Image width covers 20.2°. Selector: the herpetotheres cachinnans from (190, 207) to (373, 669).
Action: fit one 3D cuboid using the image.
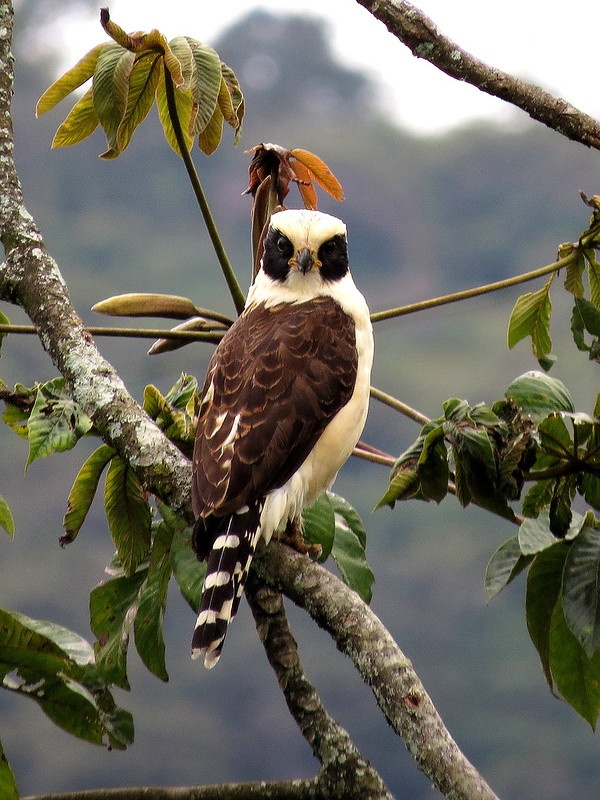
[{"bbox_3d":[-0.041,0.016,4.677,0.473,0.937,1.689,5,11,2],"label":"herpetotheres cachinnans"}]
